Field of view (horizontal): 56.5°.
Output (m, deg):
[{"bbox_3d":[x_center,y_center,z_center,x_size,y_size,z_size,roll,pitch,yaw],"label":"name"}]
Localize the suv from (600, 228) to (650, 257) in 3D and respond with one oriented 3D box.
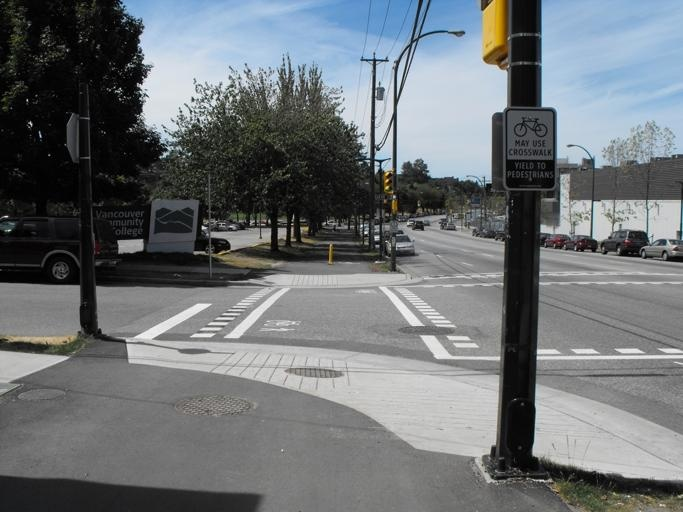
[{"bbox_3d":[21.568,-1.032,48.202,1.810,1.924,4.739,0,3,-1],"label":"suv"}]
